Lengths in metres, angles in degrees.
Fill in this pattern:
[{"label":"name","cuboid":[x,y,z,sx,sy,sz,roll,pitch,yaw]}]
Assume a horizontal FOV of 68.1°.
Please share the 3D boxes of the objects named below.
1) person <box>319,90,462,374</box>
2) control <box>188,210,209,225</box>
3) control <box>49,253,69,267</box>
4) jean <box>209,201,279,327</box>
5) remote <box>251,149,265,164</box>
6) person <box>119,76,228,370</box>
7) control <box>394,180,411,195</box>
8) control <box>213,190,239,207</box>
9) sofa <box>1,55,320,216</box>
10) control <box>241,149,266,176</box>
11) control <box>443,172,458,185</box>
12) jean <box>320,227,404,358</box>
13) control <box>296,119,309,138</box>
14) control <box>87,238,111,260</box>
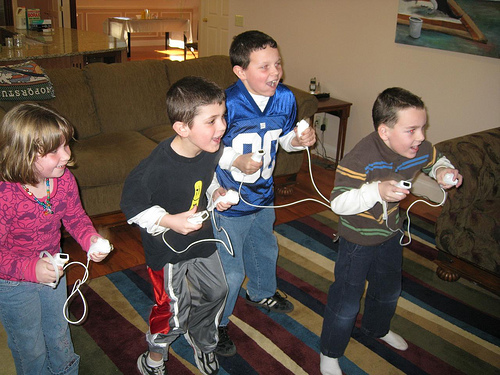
[{"label":"person","cuboid":[0.832,0.193,2.242,0.628,1.544,1.172,8,21,16]},{"label":"control","cuboid":[-0.224,0.126,1.571,0.064,0.025,0.049,-5,30,2]},{"label":"control","cuboid":[-0.773,0.298,1.521,0.048,0.052,0.036,-12,24,-34]},{"label":"jean","cuboid":[-0.016,0.464,2.211,0.206,0.764,0.473,17,25,36]},{"label":"remote","cuboid":[0.041,-0.154,1.829,0.039,0.070,0.043,40,60,2]},{"label":"person","cuboid":[-0.354,0.280,1.801,0.464,1.549,0.387,0,20,-4]},{"label":"control","cuboid":[0.676,-0.011,1.635,0.063,0.057,0.108,12,22,25]},{"label":"control","cuboid":[-0.110,0.051,1.735,0.115,0.087,0.066,0,20,-6]},{"label":"sofa","cuboid":[-1.088,-0.633,3.687,1.060,1.218,1.721,19,26,39]},{"label":"control","cuboid":[0.016,-0.126,1.861,0.080,0.113,0.038,27,18,-22]},{"label":"control","cuboid":[1.050,-0.045,1.931,0.066,0.056,0.031,7,20,13]},{"label":"jean","cuboid":[0.638,0.603,2.078,0.501,0.838,0.245,-13,24,-35]},{"label":"control","cuboid":[0.285,-0.328,2.070,0.056,0.095,0.093,17,-9,-11]},{"label":"control","cuboid":[-0.640,0.260,1.583,0.091,0.073,0.037,-30,7,-13]}]
